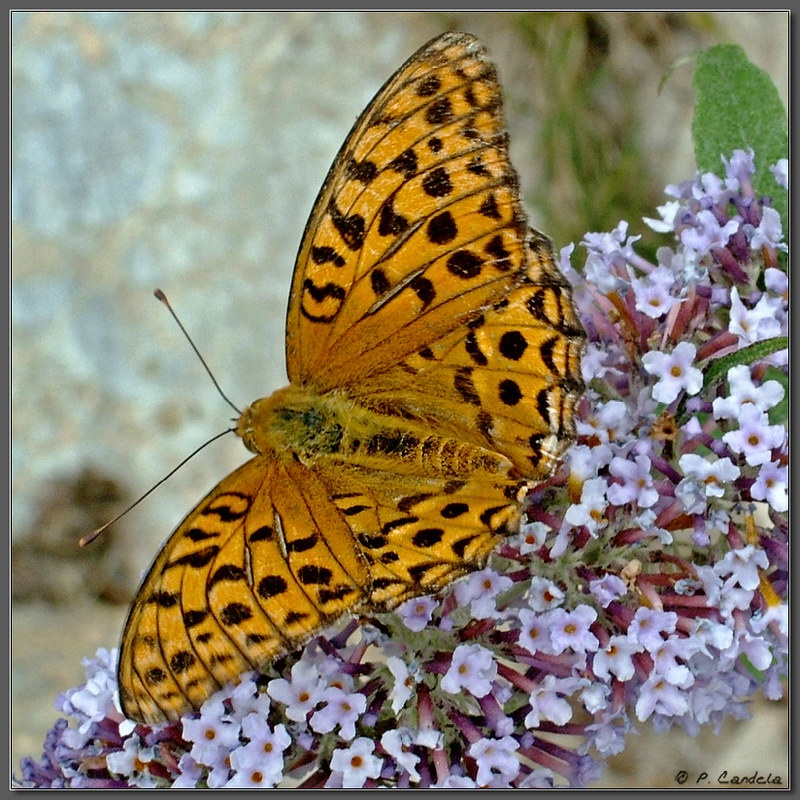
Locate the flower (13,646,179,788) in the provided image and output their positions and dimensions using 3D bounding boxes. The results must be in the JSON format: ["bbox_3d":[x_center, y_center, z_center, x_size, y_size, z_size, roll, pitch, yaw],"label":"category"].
[{"bbox_3d":[-0.769,0.859,3.368,0.415,0.358,0.148,11,-12,37],"label":"flower"}]

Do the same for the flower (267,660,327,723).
[{"bbox_3d":[-0.242,0.707,3.228,0.159,0.142,0.045,-27,-20,-9],"label":"flower"}]

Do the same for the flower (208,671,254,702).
[{"bbox_3d":[-0.391,0.699,3.215,0.118,0.062,0.097,-28,-9,-11],"label":"flower"}]
